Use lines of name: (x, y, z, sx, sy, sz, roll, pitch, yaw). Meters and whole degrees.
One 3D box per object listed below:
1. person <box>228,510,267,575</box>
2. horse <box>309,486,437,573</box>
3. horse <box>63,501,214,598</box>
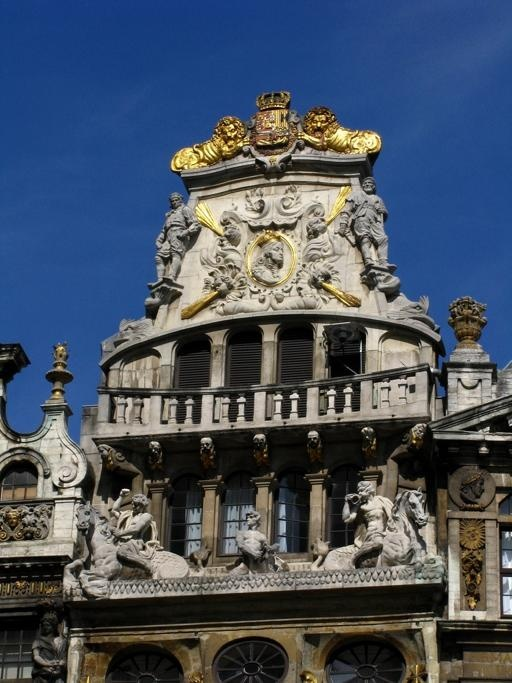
person: (-0.173, 4.627, 43.184, 0.781, 1.711, 1.100, 3, -28, -5)
horse: (2.639, 4.289, 42.885, 3.181, 2.026, 1.086, -17, -24, 32)
horse: (-2.747, 4.737, 44.057, 3.409, 2.324, 1.304, 8, -25, -11)
